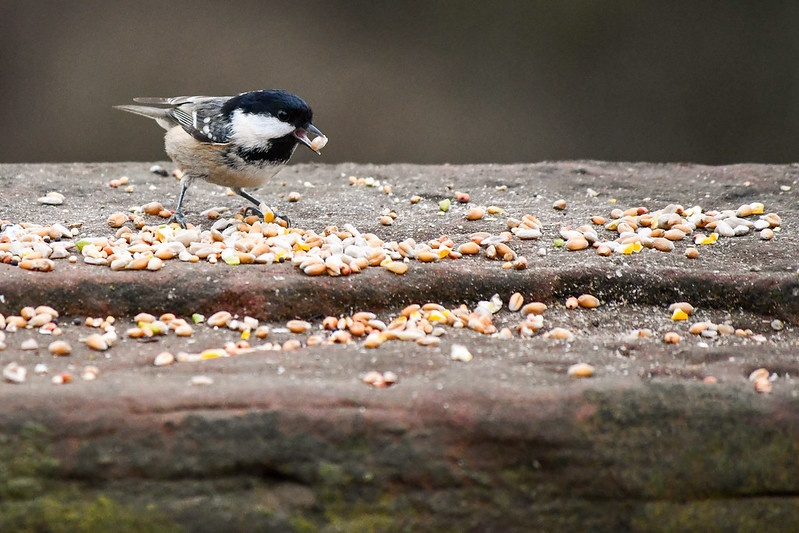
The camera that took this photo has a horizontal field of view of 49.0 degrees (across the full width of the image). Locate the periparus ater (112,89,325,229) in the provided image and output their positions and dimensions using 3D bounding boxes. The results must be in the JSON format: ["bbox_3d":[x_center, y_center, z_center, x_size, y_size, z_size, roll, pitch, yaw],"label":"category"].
[{"bbox_3d":[-0.805,-0.547,3.865,1.171,0.612,0.501,20,24,30],"label":"periparus ater"}]
